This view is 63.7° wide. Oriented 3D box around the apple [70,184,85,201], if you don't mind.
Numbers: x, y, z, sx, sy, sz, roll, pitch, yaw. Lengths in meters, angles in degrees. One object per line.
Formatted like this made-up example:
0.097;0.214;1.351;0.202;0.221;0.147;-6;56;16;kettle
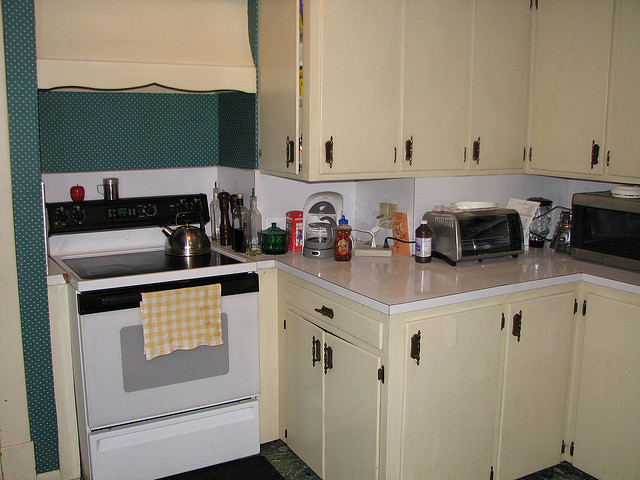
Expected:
-1.472;-0.290;3.150;0.075;0.104;0.080;-1;11;2;apple

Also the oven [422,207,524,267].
0.953;-0.038;3.158;0.476;0.313;0.370;-5;12;-20;oven

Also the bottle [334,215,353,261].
0.140;0.013;3.044;0.105;0.201;0.107;-3;9;1;bottle

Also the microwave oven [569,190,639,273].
1.608;-0.048;2.890;0.204;0.295;0.372;-6;14;-27;microwave oven

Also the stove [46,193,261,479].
-0.964;0.505;3.098;1.027;1.515;0.897;-8;11;-28;stove

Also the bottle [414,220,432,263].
0.603;0.006;2.997;0.094;0.245;0.064;-2;9;5;bottle

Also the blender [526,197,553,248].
1.452;-0.118;3.435;0.179;0.332;0.192;0;7;0;blender

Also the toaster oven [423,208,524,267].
0.969;-0.065;3.164;0.465;0.320;0.366;-6;18;-17;toaster oven
